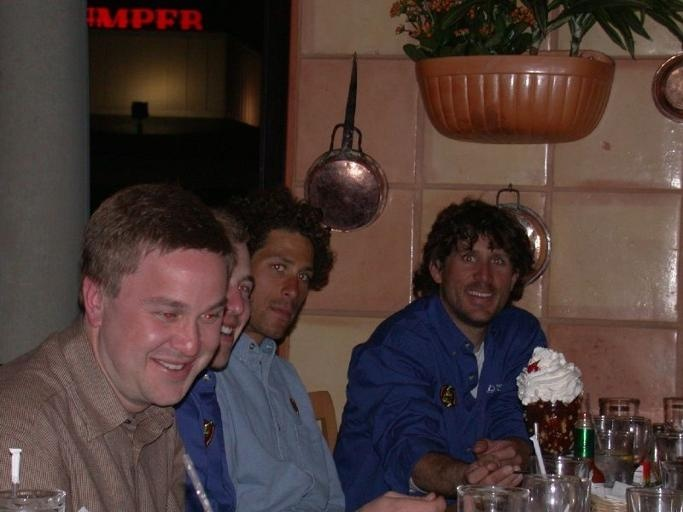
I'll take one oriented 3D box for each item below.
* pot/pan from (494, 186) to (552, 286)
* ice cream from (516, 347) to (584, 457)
[{"bbox_3d":[0.713,-0.074,2.956,0.245,0.367,0.071,-3,-3,-21],"label":"pot/pan"},{"bbox_3d":[0.602,0.428,2.181,0.164,0.291,0.174,-1,-4,31],"label":"ice cream"}]
